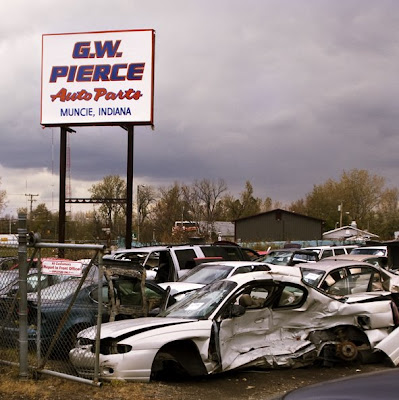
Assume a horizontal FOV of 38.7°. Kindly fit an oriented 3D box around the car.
[{"bbox_3d":[0.563,1.610,9.375,7.232,1.388,3.484,0,-1,-26],"label":"car"}]
